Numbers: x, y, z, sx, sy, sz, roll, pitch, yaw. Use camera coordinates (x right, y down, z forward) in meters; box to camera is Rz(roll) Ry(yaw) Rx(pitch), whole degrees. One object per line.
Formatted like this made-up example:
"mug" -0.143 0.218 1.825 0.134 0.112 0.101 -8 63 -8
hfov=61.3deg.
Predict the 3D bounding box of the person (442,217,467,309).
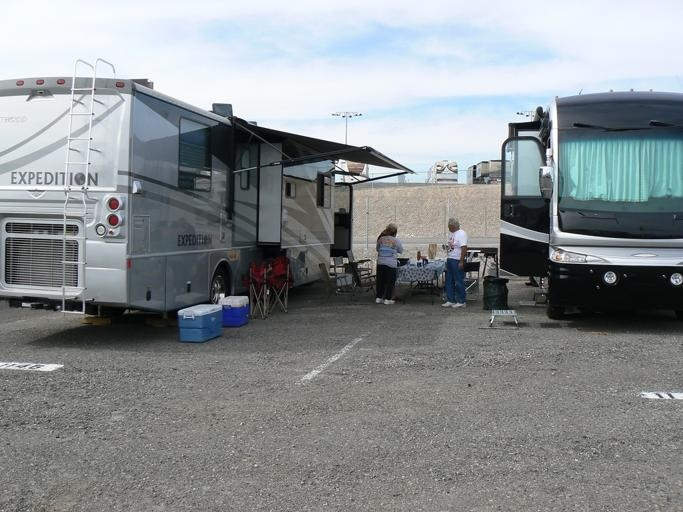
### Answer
"person" 2.332 0.143 11.962 0.485 1.855 0.909 1 4 11

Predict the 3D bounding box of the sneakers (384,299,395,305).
"sneakers" 1.044 1.008 12.575 0.250 0.090 0.087 -3 6 -43

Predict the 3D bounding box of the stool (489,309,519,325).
"stool" 2.751 1.029 9.839 0.365 0.160 0.462 -1 3 20

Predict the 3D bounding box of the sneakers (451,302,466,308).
"sneakers" 2.443 1.034 12.012 0.203 0.076 0.105 4 0 0

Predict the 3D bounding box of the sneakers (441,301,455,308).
"sneakers" 2.230 1.033 12.103 0.270 0.097 0.092 1 0 -1
